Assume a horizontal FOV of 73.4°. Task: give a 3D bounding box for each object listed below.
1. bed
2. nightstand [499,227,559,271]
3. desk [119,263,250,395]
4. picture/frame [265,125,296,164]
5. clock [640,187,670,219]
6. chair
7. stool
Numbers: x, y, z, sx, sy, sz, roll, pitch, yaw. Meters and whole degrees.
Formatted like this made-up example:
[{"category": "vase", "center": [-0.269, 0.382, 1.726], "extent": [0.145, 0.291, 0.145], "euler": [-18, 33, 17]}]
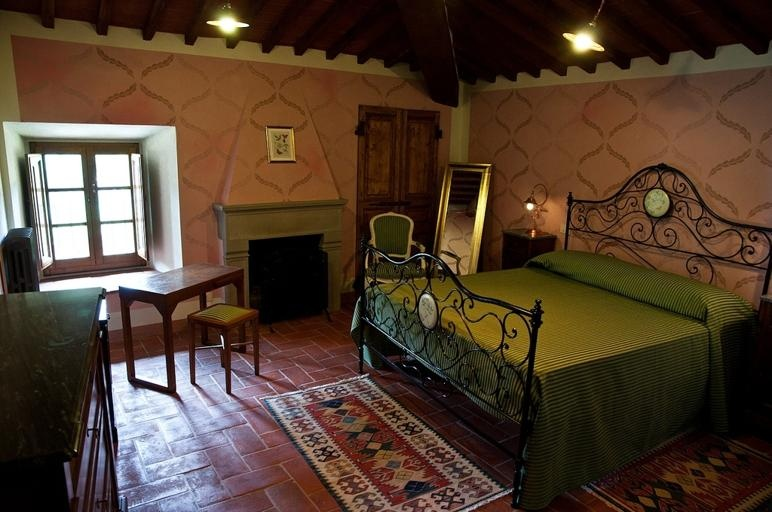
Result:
[{"category": "bed", "center": [1.615, 0.499, 4.621], "extent": [2.820, 2.449, 2.859], "euler": [-10, 17, -31]}, {"category": "nightstand", "center": [1.670, -0.155, 6.212], "extent": [0.438, 0.622, 0.612], "euler": [-4, 16, -20]}, {"category": "desk", "center": [-1.838, 0.620, 4.867], "extent": [0.559, 0.931, 1.098], "euler": [7, 13, 18]}, {"category": "picture/frame", "center": [-1.184, -1.223, 5.716], "extent": [0.415, 0.488, 0.050], "euler": [-5, -2, -30]}, {"category": "clock", "center": [2.664, -0.523, 5.096], "extent": [0.060, 0.262, 0.252], "euler": [-3, 26, -35]}, {"category": "chair", "center": [0.117, -0.094, 6.063], "extent": [0.753, 1.122, 0.762], "euler": [-2, 10, -10]}, {"category": "stool", "center": [-1.449, 0.800, 4.644], "extent": [0.605, 0.674, 0.614], "euler": [-4, 14, -28]}]
